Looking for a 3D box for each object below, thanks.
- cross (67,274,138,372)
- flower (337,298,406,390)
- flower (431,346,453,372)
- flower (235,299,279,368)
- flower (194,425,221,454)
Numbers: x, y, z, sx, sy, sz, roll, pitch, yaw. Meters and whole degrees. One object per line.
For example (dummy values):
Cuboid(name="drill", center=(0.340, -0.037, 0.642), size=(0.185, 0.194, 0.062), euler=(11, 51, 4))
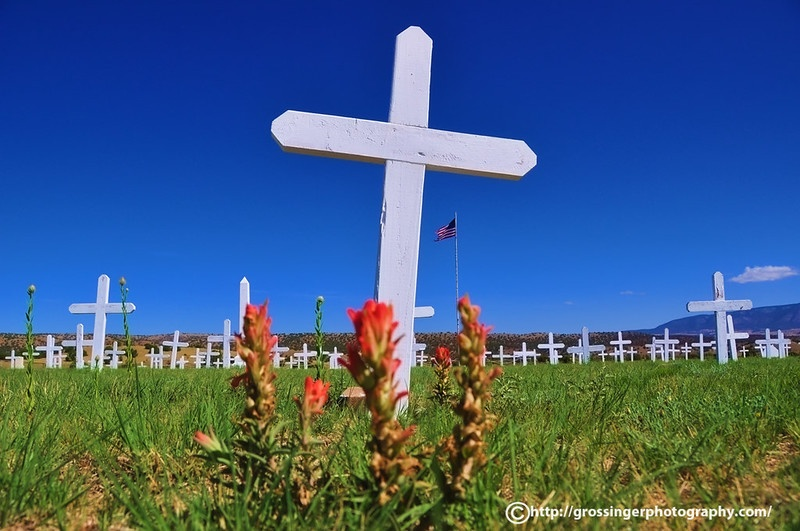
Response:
Cuboid(name="cross", center=(-7.556, 1.332, 15.420), size=(1.055, 2.351, 2.505), euler=(3, -9, -29))
Cuboid(name="flower", center=(-0.165, 0.423, 3.359), size=(0.317, 0.488, 0.643), euler=(-1, -8, -5))
Cuboid(name="flower", center=(0.392, 0.932, 6.076), size=(0.228, 0.313, 0.237), euler=(-2, -13, 15))
Cuboid(name="flower", center=(-0.843, 0.412, 3.626), size=(0.224, 0.425, 0.353), euler=(1, -8, -13))
Cuboid(name="flower", center=(-1.111, 1.013, 3.558), size=(0.060, 0.120, 0.167), euler=(-8, -10, 36))
